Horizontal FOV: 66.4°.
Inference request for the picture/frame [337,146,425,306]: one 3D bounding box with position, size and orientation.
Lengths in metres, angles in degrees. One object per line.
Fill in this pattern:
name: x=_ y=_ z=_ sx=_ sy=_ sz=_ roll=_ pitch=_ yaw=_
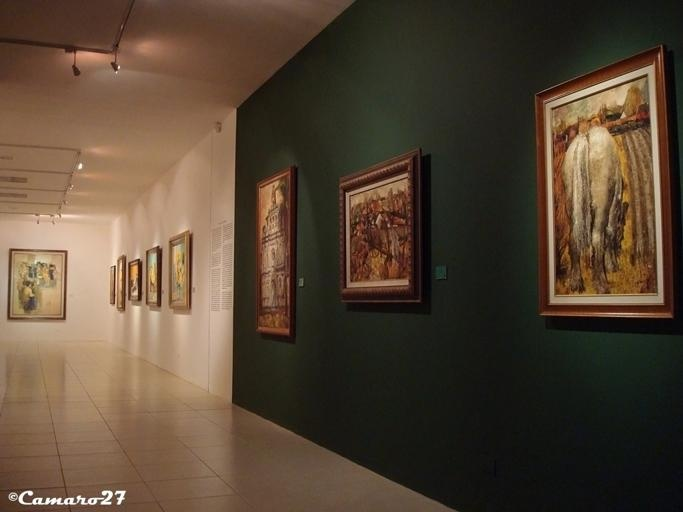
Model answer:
picture/frame: x=0.648 y=-0.418 z=8.012 sx=0.206 sy=2.573 sz=2.221 roll=3 pitch=-6 yaw=-29
